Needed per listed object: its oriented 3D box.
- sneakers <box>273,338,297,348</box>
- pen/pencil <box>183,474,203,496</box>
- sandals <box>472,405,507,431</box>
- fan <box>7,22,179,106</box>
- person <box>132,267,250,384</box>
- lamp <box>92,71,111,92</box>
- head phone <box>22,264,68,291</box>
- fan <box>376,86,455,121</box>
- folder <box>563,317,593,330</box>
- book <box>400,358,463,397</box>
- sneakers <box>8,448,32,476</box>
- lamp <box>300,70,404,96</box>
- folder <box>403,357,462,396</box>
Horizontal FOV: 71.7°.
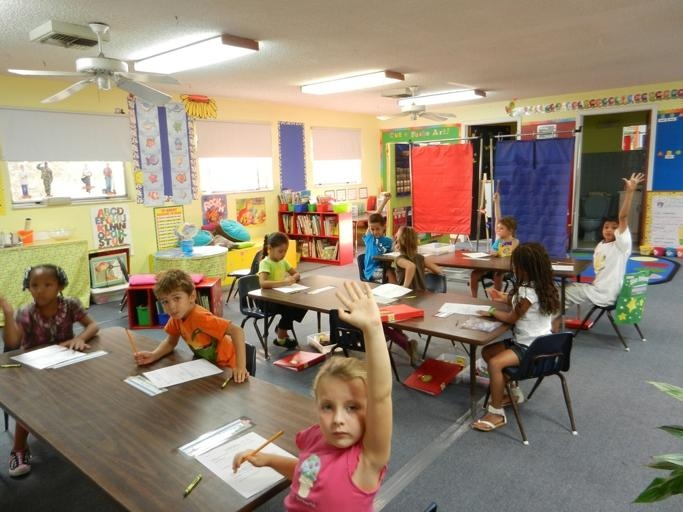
[{"bbox_3d":[-0.629,0.949,5.207,0.213,0.076,0.109,-2,6,19],"label":"sneakers"},{"bbox_3d":[-0.635,0.982,2.026,0.026,0.019,0.103,9,22,25],"label":"pen/pencil"},{"bbox_3d":[1.181,1.274,3.725,0.305,0.119,0.143,3,-9,-44],"label":"sandals"},{"bbox_3d":[-2.159,-1.799,4.254,1.152,0.420,1.110,9,14,18],"label":"fan"},{"bbox_3d":[-1.262,0.558,3.846,0.640,0.906,0.659,16,33,43],"label":"person"},{"bbox_3d":[-2.156,-1.554,4.202,0.163,0.130,0.350,-10,12,-29],"label":"lamp"},{"bbox_3d":[-2.130,0.153,3.414,0.225,0.135,0.268,-8,0,1],"label":"head phone"},{"bbox_3d":[1.298,-2.712,8.312,1.190,0.430,1.048,6,13,33],"label":"fan"},{"bbox_3d":[2.732,0.781,5.454,0.199,0.042,0.204,2,6,38],"label":"folder"},{"bbox_3d":[0.832,1.091,4.310,0.329,0.069,0.322,3,21,40],"label":"book"},{"bbox_3d":[-2.278,1.459,3.350,0.096,0.086,0.247,-2,4,-37],"label":"sneakers"},{"bbox_3d":[0.125,-2.516,6.820,1.609,0.139,0.537,3,12,34],"label":"lamp"},{"bbox_3d":[0.846,1.115,4.349,0.382,0.091,0.393,-38,22,-27],"label":"folder"}]
